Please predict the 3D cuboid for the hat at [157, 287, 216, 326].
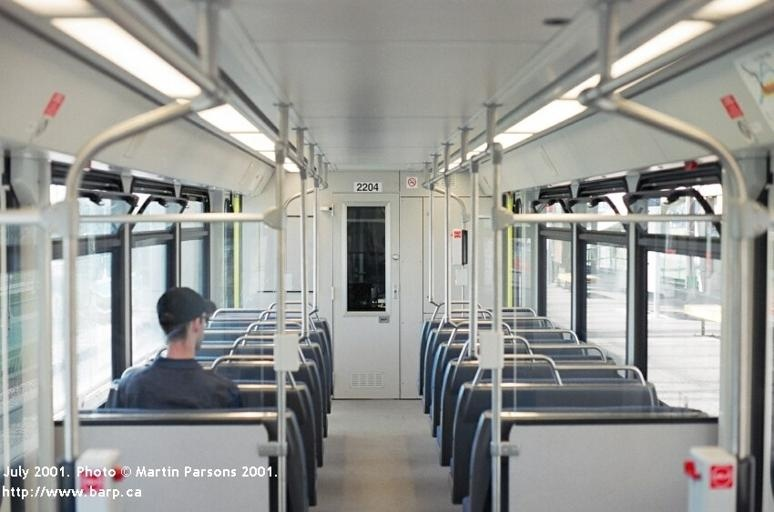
[{"bbox_3d":[-1.350,0.364,3.845,0.224,0.179,0.305,10,22,38],"label":"hat"}]
